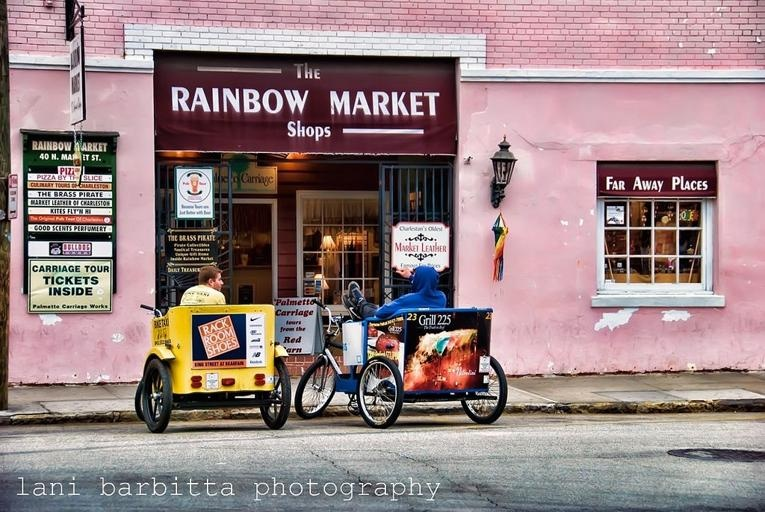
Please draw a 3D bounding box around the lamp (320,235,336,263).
[{"bbox_3d":[-1.113,-0.179,23.118,0.299,0.538,0.096,-1,-2,-2],"label":"lamp"}]

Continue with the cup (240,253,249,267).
[{"bbox_3d":[-2.913,0.078,23.608,0.173,0.280,0.078,-1,-2,5],"label":"cup"}]

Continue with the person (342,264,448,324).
[{"bbox_3d":[0.115,0.611,17.700,1.436,0.832,0.812,-3,-8,35],"label":"person"}]
